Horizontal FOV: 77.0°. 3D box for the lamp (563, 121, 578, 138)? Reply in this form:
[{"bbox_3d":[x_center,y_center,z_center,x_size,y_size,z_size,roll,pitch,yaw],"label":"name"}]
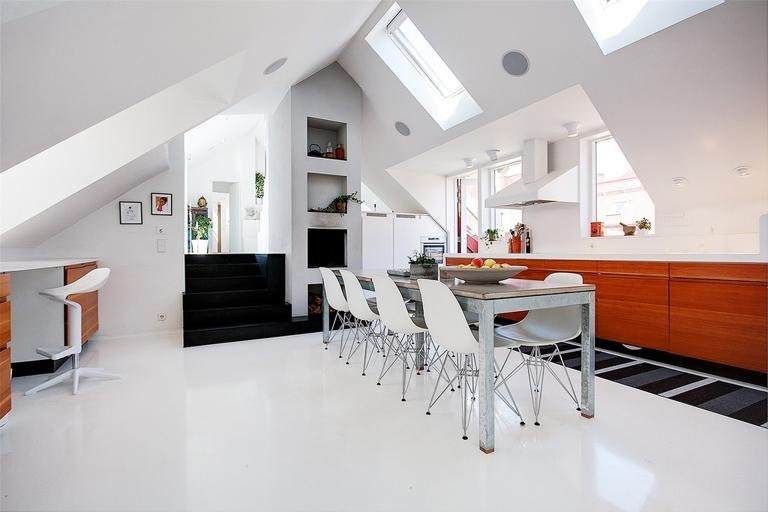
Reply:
[{"bbox_3d":[2.478,-1.680,6.423,0.167,0.119,0.171,0,1,29],"label":"lamp"}]

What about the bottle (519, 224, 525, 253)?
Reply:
[{"bbox_3d":[2.149,-0.272,7.519,0.111,0.428,0.165,2,8,16],"label":"bottle"}]

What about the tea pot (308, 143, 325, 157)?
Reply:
[{"bbox_3d":[-1.067,-1.622,7.397,0.237,0.253,0.584,-1,7,-7],"label":"tea pot"}]

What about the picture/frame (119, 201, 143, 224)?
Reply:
[{"bbox_3d":[-3.427,-0.581,6.454,0.316,0.372,0.037,-1,5,-34],"label":"picture/frame"}]

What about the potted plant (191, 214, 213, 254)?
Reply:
[{"bbox_3d":[-4.114,-0.445,10.834,0.443,0.870,2.183,-3,8,-22],"label":"potted plant"}]

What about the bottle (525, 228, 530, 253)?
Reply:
[{"bbox_3d":[2.231,-0.232,7.481,0.061,0.341,0.148,1,8,15],"label":"bottle"}]

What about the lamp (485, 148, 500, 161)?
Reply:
[{"bbox_3d":[1.738,-1.626,7.760,0.212,0.141,0.354,1,7,13],"label":"lamp"}]

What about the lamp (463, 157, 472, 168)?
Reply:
[{"bbox_3d":[1.408,-1.591,8.217,0.134,0.101,0.136,-7,-7,30],"label":"lamp"}]

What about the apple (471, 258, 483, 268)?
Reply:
[{"bbox_3d":[0.843,0.064,4.406,0.088,0.090,0.085,1,6,32],"label":"apple"}]

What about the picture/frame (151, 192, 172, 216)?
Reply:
[{"bbox_3d":[-3.092,-0.713,6.622,0.324,0.401,0.026,1,-4,-38],"label":"picture/frame"}]

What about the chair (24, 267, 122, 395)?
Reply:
[{"bbox_3d":[-3.409,0.748,5.391,1.120,1.370,1.079,1,-2,42],"label":"chair"}]

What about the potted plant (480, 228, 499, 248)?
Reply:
[{"bbox_3d":[1.745,-0.288,8.049,0.301,0.299,0.210,4,8,29],"label":"potted plant"}]

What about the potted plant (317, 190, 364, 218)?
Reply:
[{"bbox_3d":[-0.716,-0.803,7.386,0.716,0.338,0.437,-2,7,-14],"label":"potted plant"}]

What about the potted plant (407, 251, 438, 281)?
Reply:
[{"bbox_3d":[0.403,0.107,5.124,0.284,0.304,0.310,0,0,-13],"label":"potted plant"}]

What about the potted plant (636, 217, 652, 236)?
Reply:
[{"bbox_3d":[3.302,-0.377,6.132,0.180,0.215,0.191,3,8,25],"label":"potted plant"}]
